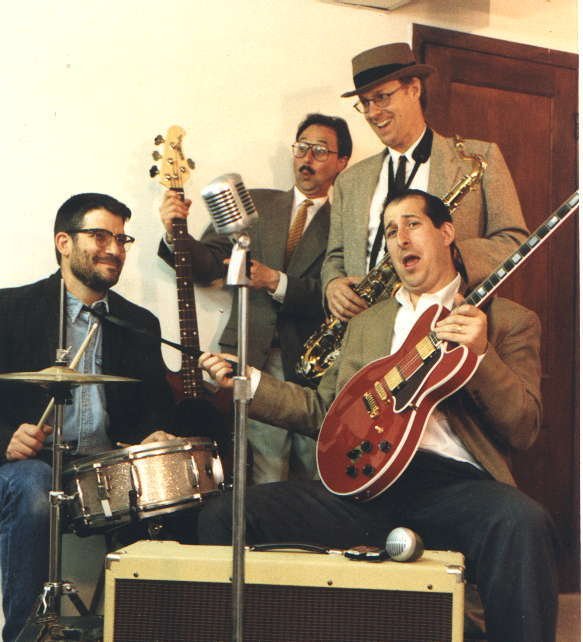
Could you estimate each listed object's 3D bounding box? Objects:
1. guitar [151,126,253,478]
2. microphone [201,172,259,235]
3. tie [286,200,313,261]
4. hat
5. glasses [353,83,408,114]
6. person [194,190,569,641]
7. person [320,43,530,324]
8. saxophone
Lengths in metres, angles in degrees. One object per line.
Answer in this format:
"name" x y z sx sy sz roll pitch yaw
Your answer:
"guitar" -0.384 -0.092 3.311 0.403 1.187 0.146 -4 -3 -8
"microphone" -0.158 -0.298 2.315 0.126 0.113 0.080 -7 4 4
"tie" 0.026 -0.366 3.456 0.048 0.258 0.070 16 -1 -1
"hat" 0.369 -0.986 3.477 0.271 0.100 0.228 -22 2 -22
"glasses" 0.322 -0.853 3.482 0.133 0.041 0.134 -18 23 48
"person" 0.412 0.203 3.227 0.937 1.628 0.406 11 -13 -36
"person" 0.469 -0.495 3.429 0.451 1.198 0.730 18 -32 -40
"saxophone" 0.339 -0.198 3.321 0.191 1.057 0.188 41 1 38
